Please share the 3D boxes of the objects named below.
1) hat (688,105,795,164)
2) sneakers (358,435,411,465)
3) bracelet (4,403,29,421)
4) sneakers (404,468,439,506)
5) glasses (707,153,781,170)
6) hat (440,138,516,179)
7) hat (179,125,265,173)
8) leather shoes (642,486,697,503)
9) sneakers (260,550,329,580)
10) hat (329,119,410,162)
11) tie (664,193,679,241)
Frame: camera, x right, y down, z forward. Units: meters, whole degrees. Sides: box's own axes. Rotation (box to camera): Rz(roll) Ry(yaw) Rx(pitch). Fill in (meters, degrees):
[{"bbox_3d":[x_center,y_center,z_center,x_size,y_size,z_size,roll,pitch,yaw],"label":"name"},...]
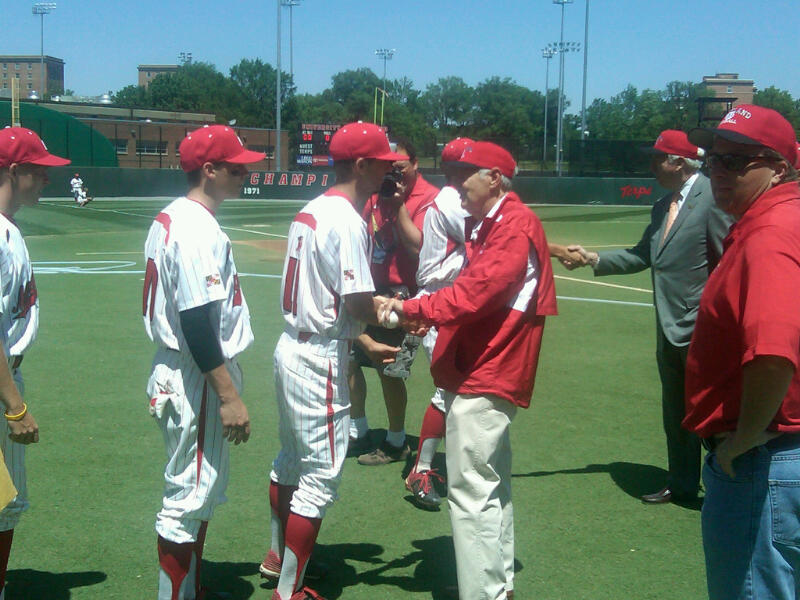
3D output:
[{"bbox_3d":[1.662,-0.811,4.640,0.399,0.210,0.287,12,11,-5],"label":"hat"},{"bbox_3d":[-0.132,1.192,7.466,0.435,0.164,0.154,1,-3,-30],"label":"sneakers"},{"bbox_3d":[-2.027,0.593,5.021,0.094,0.033,0.095,-4,3,15],"label":"bracelet"},{"bbox_3d":[0.193,1.304,6.679,0.163,0.221,0.327,7,5,-45],"label":"sneakers"},{"bbox_3d":[1.649,-0.675,4.593,0.157,0.044,0.152,2,0,-19],"label":"glasses"},{"bbox_3d":[0.467,-0.789,5.621,0.377,0.191,0.259,25,11,-11],"label":"hat"},{"bbox_3d":[-1.006,-0.874,5.387,0.468,0.247,0.289,2,23,-19],"label":"hat"},{"bbox_3d":[1.901,1.389,6.723,0.425,0.150,0.140,3,-3,-2],"label":"leather shoes"},{"bbox_3d":[-0.600,1.611,5.828,0.475,0.209,0.171,0,8,7],"label":"sneakers"},{"bbox_3d":[-0.202,-0.914,5.535,0.340,0.179,0.228,-3,24,-20],"label":"hat"},{"bbox_3d":[1.890,-0.591,6.641,0.065,0.056,0.471,-3,37,24],"label":"tie"}]
